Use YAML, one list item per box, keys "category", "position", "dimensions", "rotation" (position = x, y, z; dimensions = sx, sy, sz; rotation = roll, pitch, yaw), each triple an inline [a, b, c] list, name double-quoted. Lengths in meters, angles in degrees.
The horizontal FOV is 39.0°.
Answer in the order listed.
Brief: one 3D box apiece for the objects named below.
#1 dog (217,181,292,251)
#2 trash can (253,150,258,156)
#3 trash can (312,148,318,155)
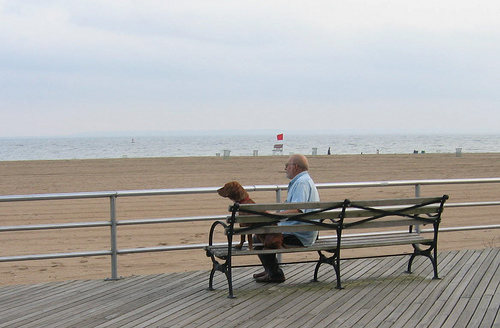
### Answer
- category: "dog"
  position: [0.186, 0.999, 12.649]
  dimensions: [1.754, 1.130, 0.625]
  rotation: [6, -5, 0]
- category: "trash can"
  position: [0.435, -0.764, 56.002]
  dimensions: [0.491, 0.558, 0.448]
  rotation: [0, 4, -2]
- category: "trash can"
  position: [5.361, -0.963, 58.464]
  dimensions: [0.514, 0.647, 0.475]
  rotation: [0, 3, 12]
